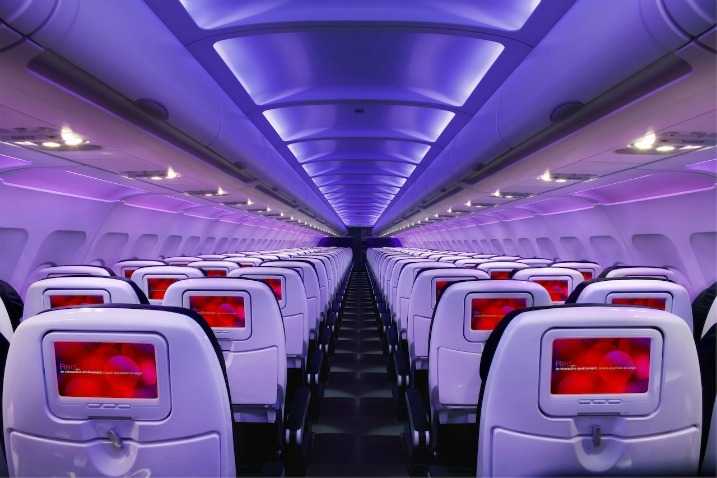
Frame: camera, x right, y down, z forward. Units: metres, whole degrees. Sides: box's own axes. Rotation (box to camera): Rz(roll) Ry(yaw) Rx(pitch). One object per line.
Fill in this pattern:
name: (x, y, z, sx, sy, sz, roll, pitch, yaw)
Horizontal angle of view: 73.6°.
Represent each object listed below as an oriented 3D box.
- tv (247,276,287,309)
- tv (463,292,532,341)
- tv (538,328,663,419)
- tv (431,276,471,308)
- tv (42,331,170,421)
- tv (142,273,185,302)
tv: (-0.892, 0.494, 4.567, 0.458, 0.320, 0.128, 2, 19, -1)
tv: (1.108, 0.615, 3.903, 0.553, 0.313, 0.065, 0, 8, -1)
tv: (1.591, 0.872, 3.142, 0.763, 0.471, 0.093, 1, 2, 3)
tv: (0.888, 0.487, 4.570, 0.464, 0.330, 0.212, 0, -2, -3)
tv: (-1.621, 0.858, 3.049, 0.733, 0.432, 0.071, 0, 6, 2)
tv: (-2.096, 0.500, 5.110, 0.384, 0.266, 0.173, 2, 14, 0)
